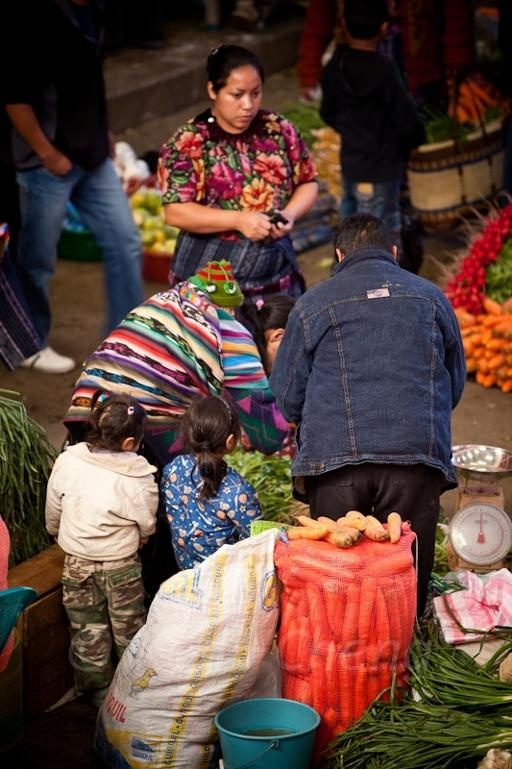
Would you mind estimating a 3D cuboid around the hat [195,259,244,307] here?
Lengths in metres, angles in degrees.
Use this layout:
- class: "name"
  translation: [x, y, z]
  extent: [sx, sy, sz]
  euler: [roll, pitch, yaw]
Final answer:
- class: "hat"
  translation: [-0.125, -0.363, 2.430]
  extent: [0.194, 0.121, 0.133]
  euler: [19, 29, 14]

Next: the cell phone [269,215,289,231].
- class: "cell phone"
  translation: [0.093, -0.660, 2.700]
  extent: [0.070, 0.045, 0.021]
  euler: [17, 2, -23]

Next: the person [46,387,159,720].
- class: "person"
  translation: [-0.459, 0.522, 2.125]
  extent: [0.403, 0.931, 0.335]
  euler: [3, 9, 17]
